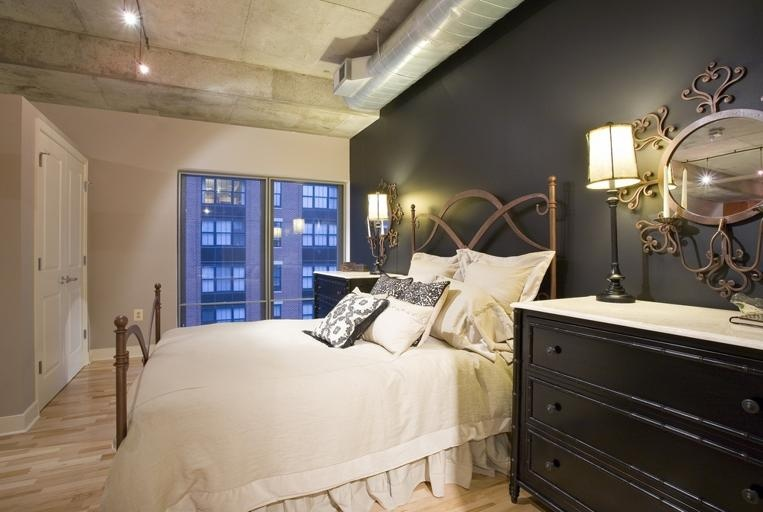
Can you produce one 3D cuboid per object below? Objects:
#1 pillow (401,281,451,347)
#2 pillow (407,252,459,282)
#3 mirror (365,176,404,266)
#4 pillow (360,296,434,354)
[{"bbox_3d":[0.416,0.418,3.957,0.137,0.441,0.449,24,-13,-25],"label":"pillow"},{"bbox_3d":[0.460,0.105,4.556,0.209,0.214,0.471,-5,-1,-24],"label":"pillow"},{"bbox_3d":[0.049,-0.411,5.978,0.278,1.242,1.050,1,0,-22],"label":"mirror"},{"bbox_3d":[0.132,0.505,3.815,0.393,0.376,0.121,18,-20,51],"label":"pillow"}]
